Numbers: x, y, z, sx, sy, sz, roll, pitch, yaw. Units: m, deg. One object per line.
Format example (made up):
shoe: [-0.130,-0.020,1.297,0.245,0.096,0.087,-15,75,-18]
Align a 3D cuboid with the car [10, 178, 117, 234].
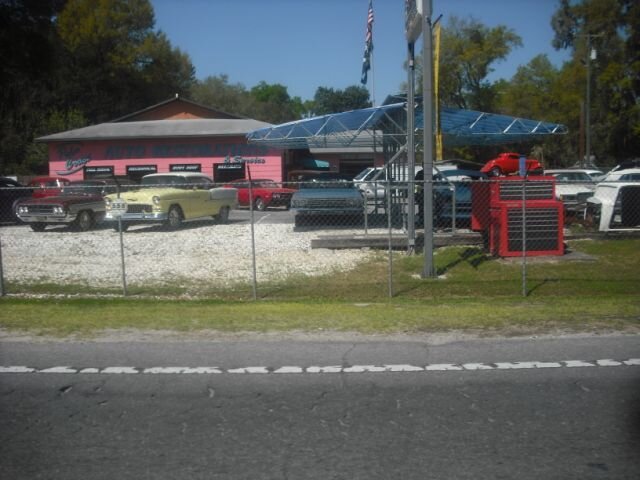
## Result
car: [-7.842,-1.133,26.702,1.733,1.082,3.458,0,5,11]

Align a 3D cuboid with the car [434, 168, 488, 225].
car: [3.738,-1.160,23.163,1.363,0.962,2.144,-1,4,-4]

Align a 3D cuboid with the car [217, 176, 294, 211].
car: [-2.416,-1.869,35.087,2.902,0.840,1.710,4,7,41]

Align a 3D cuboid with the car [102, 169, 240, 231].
car: [-4.819,-1.189,26.203,2.024,1.337,4.433,0,3,23]

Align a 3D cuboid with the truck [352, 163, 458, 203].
truck: [2.657,-1.561,25.988,3.104,1.061,1.639,0,7,0]
